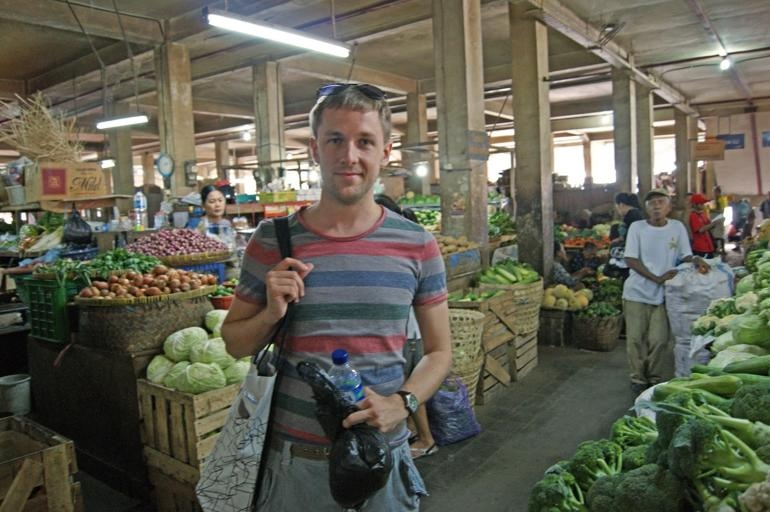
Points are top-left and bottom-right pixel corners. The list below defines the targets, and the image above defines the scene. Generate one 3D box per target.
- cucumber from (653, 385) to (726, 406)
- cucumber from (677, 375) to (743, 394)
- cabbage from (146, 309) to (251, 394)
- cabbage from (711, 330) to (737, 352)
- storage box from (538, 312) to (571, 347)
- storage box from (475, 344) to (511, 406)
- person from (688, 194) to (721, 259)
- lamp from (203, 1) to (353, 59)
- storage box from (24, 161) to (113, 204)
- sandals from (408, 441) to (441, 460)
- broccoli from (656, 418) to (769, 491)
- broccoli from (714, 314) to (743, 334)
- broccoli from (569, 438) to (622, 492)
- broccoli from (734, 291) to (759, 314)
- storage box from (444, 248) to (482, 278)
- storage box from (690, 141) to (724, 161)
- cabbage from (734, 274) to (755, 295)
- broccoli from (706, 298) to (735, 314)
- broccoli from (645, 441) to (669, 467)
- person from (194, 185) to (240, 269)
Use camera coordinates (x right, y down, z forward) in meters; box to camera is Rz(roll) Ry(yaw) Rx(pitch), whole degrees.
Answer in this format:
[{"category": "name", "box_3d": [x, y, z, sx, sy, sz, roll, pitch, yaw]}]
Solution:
[{"category": "cucumber", "box_3d": [1.655, 0.749, 2.880, 0.086, 0.076, 0.315, -23, 7, -30]}, {"category": "cucumber", "box_3d": [1.783, 0.708, 2.972, 0.340, 0.092, 0.094, 0, -4, 12]}, {"category": "cabbage", "box_3d": [-1.520, 0.833, 4.239, 0.745, 0.328, 0.886, -3, 14, -22]}, {"category": "cabbage", "box_3d": [2.373, 0.596, 3.758, 0.139, 0.058, 0.173, -23, 12, 41]}, {"category": "storage box", "box_3d": [2.517, 1.076, 8.036, 0.585, 0.440, 0.530, 0, -1, 18]}, {"category": "storage box", "box_3d": [1.168, 1.380, 6.219, 0.515, 0.602, 0.287, -12, -23, -32]}, {"category": "person", "box_3d": [6.354, -0.348, 10.569, 0.653, 1.637, 0.732, 0, 22, 33]}, {"category": "lamp", "box_3d": [-1.774, -3.300, 8.248, 2.610, 0.550, 0.766, 3, 10, -15]}, {"category": "storage box", "box_3d": [-4.099, -0.964, 6.881, 0.906, 0.485, 0.332, -7, 13, -28]}, {"category": "sandals", "box_3d": [0.356, 1.815, 5.029, 0.413, 0.091, 0.157, 4, -4, -41]}, {"category": "broccoli", "box_3d": [1.580, 0.943, 2.543, 0.415, 0.316, 0.153, 3, 13, 21]}, {"category": "broccoli", "box_3d": [2.538, 0.489, 3.935, 0.192, 0.045, 0.187, -23, -3, -40]}, {"category": "broccoli", "box_3d": [1.128, 1.159, 3.050, 0.391, 0.198, 0.318, 2, 9, 14]}, {"category": "broccoli", "box_3d": [2.811, 0.361, 4.165, 0.189, 0.056, 0.224, -20, 19, 30]}, {"category": "storage box", "box_3d": [1.022, 0.094, 7.046, 0.436, 0.213, 0.575, -6, 0, 24]}, {"category": "storage box", "box_3d": [9.516, -3.104, 15.782, 0.820, 0.403, 0.734, -3, 2, -17]}, {"category": "cabbage", "box_3d": [3.417, 0.269, 5.086, 0.074, 0.200, 0.259, 28, 71, 39]}, {"category": "broccoli", "box_3d": [2.791, 0.413, 4.438, 0.143, 0.056, 0.181, -16, 6, 27]}, {"category": "broccoli", "box_3d": [1.384, 1.003, 2.733, 0.110, 0.092, 0.113, -4, -4, 37]}, {"category": "person", "box_3d": [-1.961, -0.420, 6.269, 0.621, 1.133, 0.640, 0, -5, 3]}]
